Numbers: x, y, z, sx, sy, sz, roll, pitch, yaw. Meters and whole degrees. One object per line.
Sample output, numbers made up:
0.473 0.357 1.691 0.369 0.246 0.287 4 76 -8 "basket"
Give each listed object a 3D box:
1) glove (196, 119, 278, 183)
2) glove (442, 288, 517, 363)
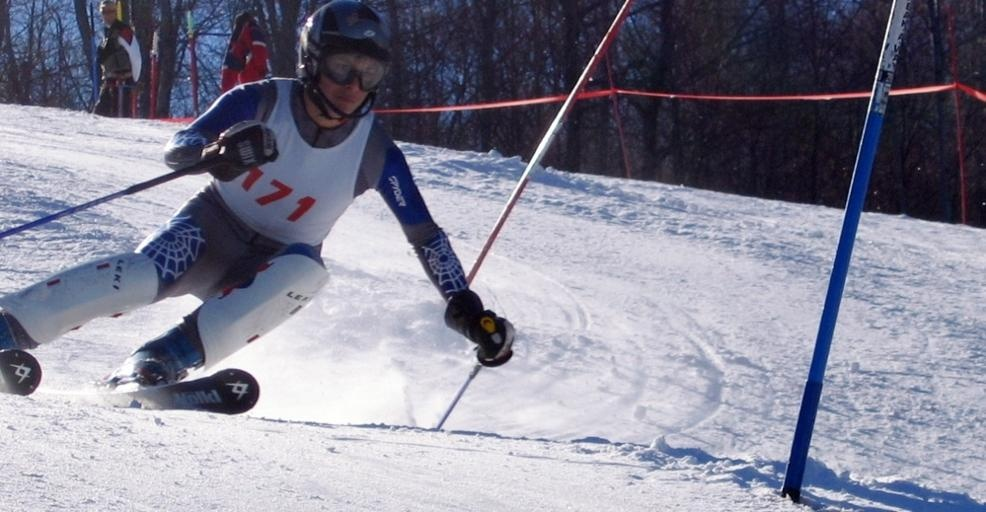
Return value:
-2.828 -1.208 11.175 0.876 0.564 0.371 -20 22 -6 "glove"
-0.198 0.801 11.433 0.983 0.597 0.451 44 13 15 "glove"
